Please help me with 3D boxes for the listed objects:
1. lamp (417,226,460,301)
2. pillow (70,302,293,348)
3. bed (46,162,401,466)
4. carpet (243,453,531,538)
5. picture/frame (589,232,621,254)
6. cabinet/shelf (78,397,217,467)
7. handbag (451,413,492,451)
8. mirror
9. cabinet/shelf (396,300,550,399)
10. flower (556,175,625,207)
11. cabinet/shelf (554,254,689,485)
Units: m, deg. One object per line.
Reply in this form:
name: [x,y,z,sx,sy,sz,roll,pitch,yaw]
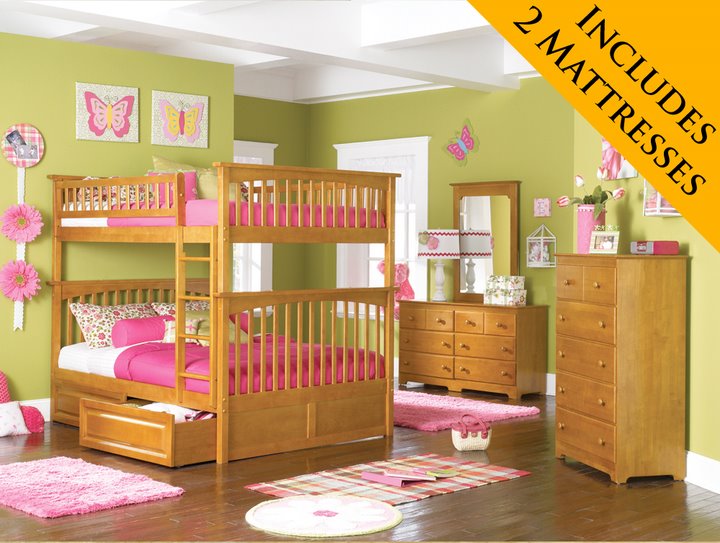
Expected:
lamp: [0.865,-0.067,7.186,0.468,0.786,0.510,1,-1,7]
pillow: [-1.769,0.423,5.144,0.770,0.198,0.717,0,1,-41]
bed: [-1.063,0.222,5.452,2.371,2.070,2.680,0,0,-39]
carpet: [0.057,1.221,3.672,0.970,0.056,1.679,0,-2,43]
picture/frame: [1.600,-0.187,4.248,0.018,0.130,0.176,5,-3,-34]
cabinet/shelf: [-1.430,1.082,4.453,0.850,0.279,0.580,3,-5,25]
handbag: [0.782,1.142,4.665,0.301,0.229,0.250,1,-6,-22]
mirror: [1.354,-0.286,7.027,0.576,1.056,0.110,0,-2,38]
cabinet/shelf: [1.209,0.803,6.607,1.149,0.601,0.414,0,-1,39]
flower: [1.658,-0.544,4.608,0.329,0.123,0.299,1,2,5]
cabinet/shelf: [1.570,0.572,3.976,0.774,1.363,0.475,1,-2,24]
